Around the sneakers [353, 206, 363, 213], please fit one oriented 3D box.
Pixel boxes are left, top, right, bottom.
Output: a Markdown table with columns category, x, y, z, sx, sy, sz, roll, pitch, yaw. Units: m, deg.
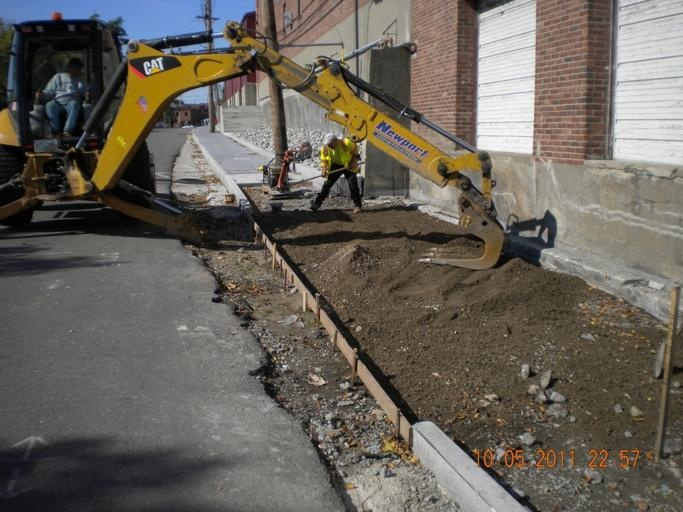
| category | x | y | z | sx | sy | sz | roll | pitch | yaw |
| --- | --- | --- | --- | --- | --- | --- | --- | --- | --- |
| sneakers | 0.344 | -1.031 | 11.123 | 0.116 | 0.136 | 0.196 | 0 | 12 | -11 |
